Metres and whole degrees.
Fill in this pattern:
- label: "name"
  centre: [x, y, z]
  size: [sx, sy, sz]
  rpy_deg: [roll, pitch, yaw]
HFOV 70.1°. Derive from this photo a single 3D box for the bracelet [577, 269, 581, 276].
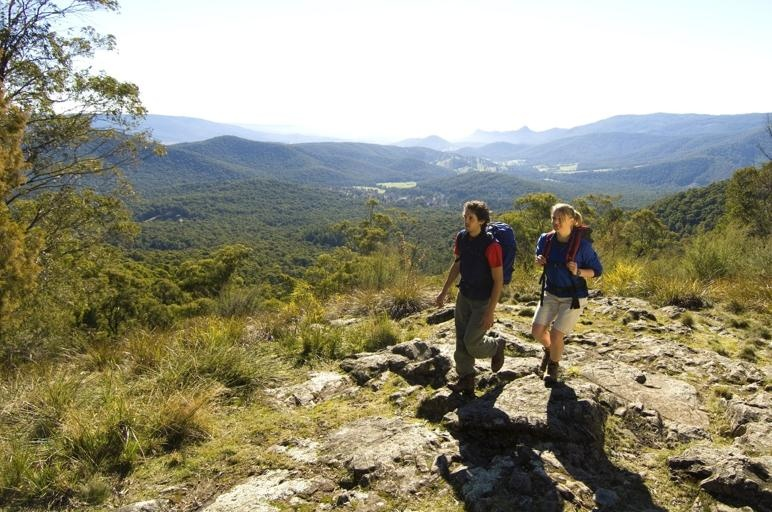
- label: "bracelet"
  centre: [3.386, 0.287, 9.712]
  size: [0.081, 0.062, 0.091]
  rpy_deg: [3, -9, 3]
